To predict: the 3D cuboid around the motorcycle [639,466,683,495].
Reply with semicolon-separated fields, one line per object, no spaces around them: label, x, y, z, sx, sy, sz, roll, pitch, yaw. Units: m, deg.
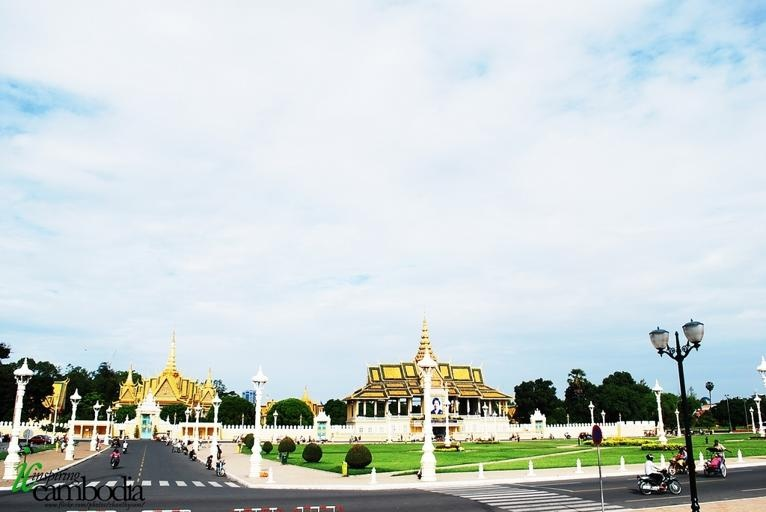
motorcycle;17.818;14.794;40.314;2.780;1.583;1.381;0;-13;-8
